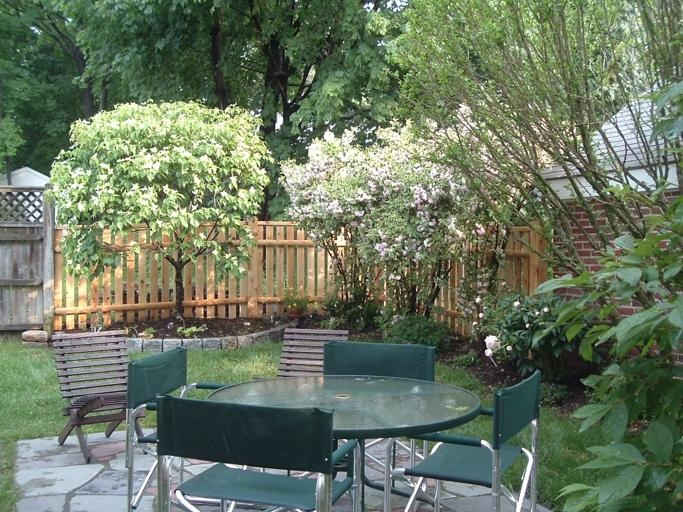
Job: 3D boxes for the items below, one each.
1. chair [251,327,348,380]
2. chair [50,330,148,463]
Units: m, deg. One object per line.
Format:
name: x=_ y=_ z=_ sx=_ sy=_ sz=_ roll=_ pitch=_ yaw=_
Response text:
chair: x=-0.357 y=0.987 z=6.135 sx=0.624 sy=0.641 sz=0.492 roll=0 pitch=0 yaw=16
chair: x=-2.278 y=1.317 z=5.873 sx=0.742 sy=0.964 sz=0.831 roll=-5 pitch=7 yaw=-40
